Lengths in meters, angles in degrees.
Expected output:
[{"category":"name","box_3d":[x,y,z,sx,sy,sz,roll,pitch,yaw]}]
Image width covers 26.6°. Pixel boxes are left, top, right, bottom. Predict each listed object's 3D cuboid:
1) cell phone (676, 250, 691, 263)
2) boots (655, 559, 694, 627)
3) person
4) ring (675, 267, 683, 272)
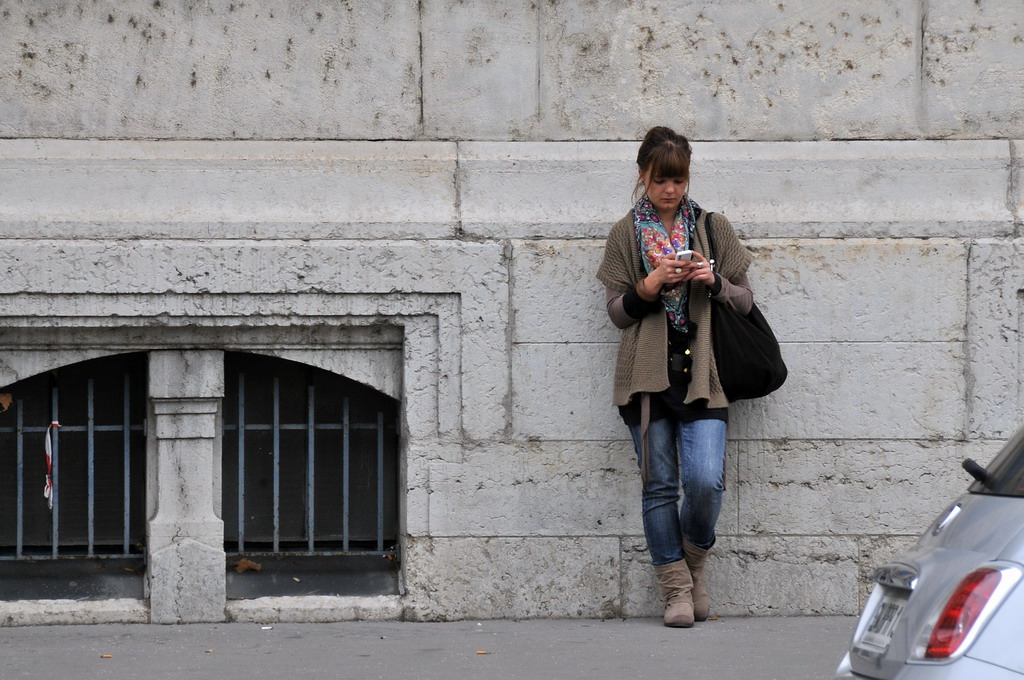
[{"category":"cell phone","box_3d":[1.055,-0.511,13.431,0.099,0.084,0.136,0,-5,3]},{"category":"boots","box_3d":[1.026,1.596,13.720,0.221,0.373,0.427,-7,15,6]},{"category":"person","box_3d":[1.030,0.246,13.740,0.744,3.126,0.791,4,-6,-36]},{"category":"ring","box_3d":[1.014,-0.431,13.376,0.036,0.031,0.008,1,3,-3]}]
